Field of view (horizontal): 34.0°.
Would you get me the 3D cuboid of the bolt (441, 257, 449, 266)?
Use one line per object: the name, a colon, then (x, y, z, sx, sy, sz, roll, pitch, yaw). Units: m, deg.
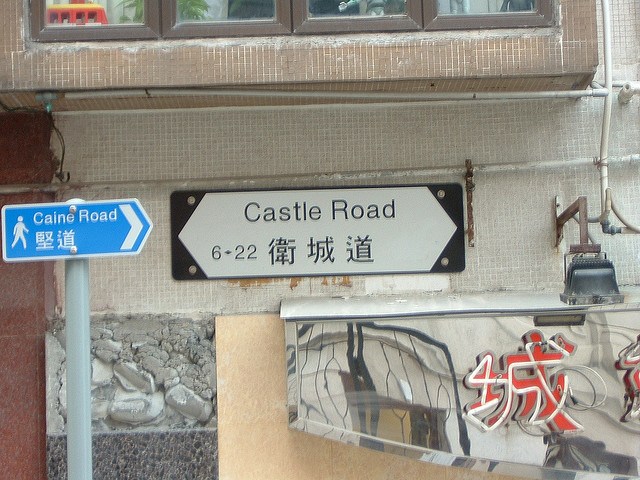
bolt: (1.029, 0.171, 8.656, 0.051, 0.064, 0.013, -3, 2, -7)

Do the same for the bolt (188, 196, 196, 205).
bolt: (-1.061, -0.331, 8.669, 0.064, 0.061, 0.017, -4, 10, -7)

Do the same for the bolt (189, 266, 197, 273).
bolt: (-1.053, 0.234, 8.672, 0.045, 0.057, 0.012, 2, -3, 0)

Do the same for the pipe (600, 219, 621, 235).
pipe: (2.347, -0.114, 8.482, 0.155, 0.134, 0.082, 1, -4, 0)

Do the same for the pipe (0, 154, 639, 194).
pipe: (-0.109, -0.546, 8.676, 5.075, 0.151, 0.105, -4, 10, 0)

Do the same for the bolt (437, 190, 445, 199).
bolt: (1.002, -0.383, 8.657, 0.056, 0.070, 0.015, 1, -2, 5)

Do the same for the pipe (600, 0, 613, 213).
pipe: (2.325, -1.096, 8.530, 0.083, 1.686, 0.355, 0, 10, 17)
